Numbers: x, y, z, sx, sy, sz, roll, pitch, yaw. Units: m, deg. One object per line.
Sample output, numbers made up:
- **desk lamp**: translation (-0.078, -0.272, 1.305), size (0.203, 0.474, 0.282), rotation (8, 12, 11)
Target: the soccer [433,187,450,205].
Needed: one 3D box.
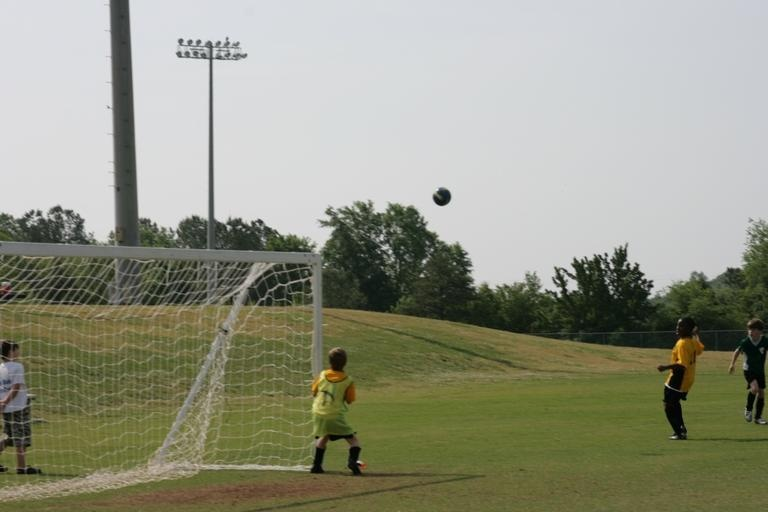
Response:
- **soccer**: translation (2.003, -2.001, 50.020), size (0.363, 0.527, 0.723), rotation (8, -8, -37)

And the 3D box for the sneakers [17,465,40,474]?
- **sneakers**: translation (-10.038, 6.085, 41.443), size (0.709, 0.230, 0.233), rotation (0, -8, -3)
